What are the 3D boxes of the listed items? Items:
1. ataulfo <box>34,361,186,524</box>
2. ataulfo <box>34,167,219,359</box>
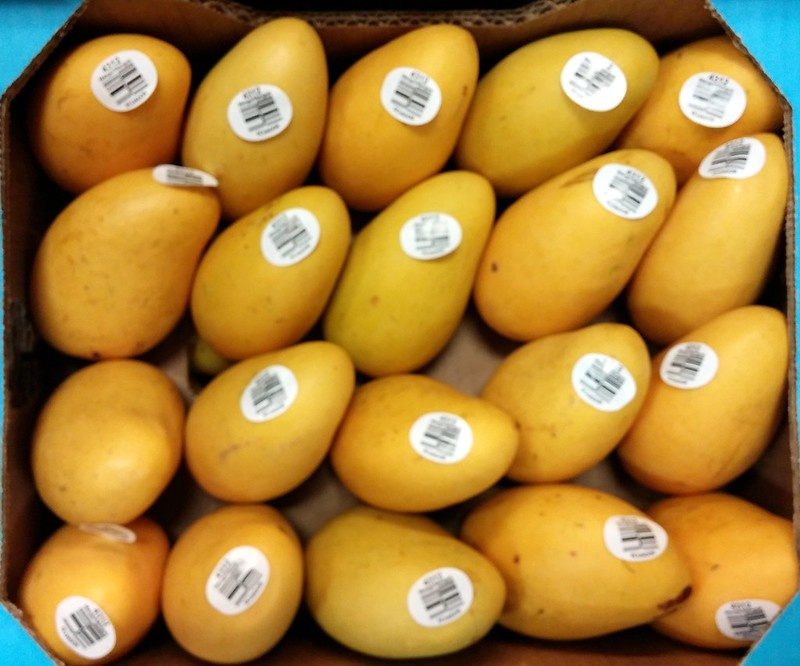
[{"bbox_3d":[-0.237,0.086,0.724,0.097,0.142,0.074,28,-7,4],"label":"ataulfo"},{"bbox_3d":[-0.230,-0.066,0.757,0.127,0.168,0.098,43,7,-20],"label":"ataulfo"}]
